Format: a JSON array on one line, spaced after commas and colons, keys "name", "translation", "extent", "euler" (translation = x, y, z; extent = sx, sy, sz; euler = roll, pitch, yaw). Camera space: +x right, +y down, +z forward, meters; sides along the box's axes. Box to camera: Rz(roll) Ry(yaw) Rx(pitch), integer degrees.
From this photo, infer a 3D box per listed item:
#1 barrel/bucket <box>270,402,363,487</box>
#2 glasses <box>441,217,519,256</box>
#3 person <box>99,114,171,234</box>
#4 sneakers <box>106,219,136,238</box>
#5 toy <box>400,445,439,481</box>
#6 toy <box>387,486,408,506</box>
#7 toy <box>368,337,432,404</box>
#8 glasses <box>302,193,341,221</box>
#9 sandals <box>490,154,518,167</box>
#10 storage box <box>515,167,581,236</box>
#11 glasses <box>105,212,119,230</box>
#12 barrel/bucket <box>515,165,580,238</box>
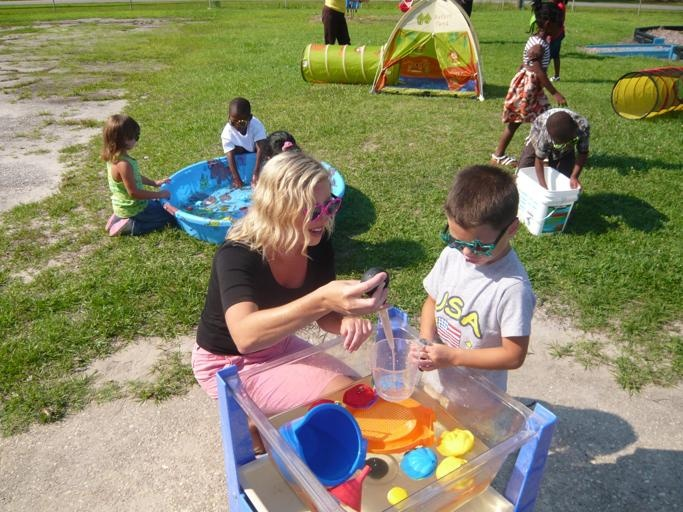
[{"name": "barrel/bucket", "translation": [-0.080, 0.990, 2.878], "extent": [0.434, 0.257, 0.322], "euler": [-13, 34, -19]}, {"name": "glasses", "translation": [0.774, -0.079, 3.213], "extent": [0.384, 0.232, 0.184], "euler": [12, 33, 20]}, {"name": "person", "translation": [-2.113, -0.803, 5.476], "extent": [0.673, 1.031, 0.664], "euler": [-14, 33, -20]}, {"name": "sneakers", "translation": [-2.211, -0.298, 5.469], "extent": [0.264, 0.144, 0.194], "euler": [-13, 34, -18]}, {"name": "toy", "translation": [0.413, 1.111, 2.946], "extent": [0.196, 0.084, 0.151], "euler": [1, 32, 3]}, {"name": "toy", "translation": [0.291, 1.239, 2.848], "extent": [0.108, 0.048, 0.087], "euler": [-2, 32, -2]}, {"name": "toy", "translation": [0.333, 0.678, 3.274], "extent": [0.332, 0.291, 0.272], "euler": [-30, 44, -25]}, {"name": "glasses", "translation": [-0.099, -0.285, 3.294], "extent": [0.162, 0.058, 0.163], "euler": [18, 37, 37]}, {"name": "sandals", "translation": [2.059, -1.186, 6.994], "extent": [0.298, 0.140, 0.167], "euler": [6, 38, 14]}, {"name": "storage box", "translation": [2.027, -0.510, 5.390], "extent": [0.433, 0.466, 0.647], "euler": [-6, 35, -8]}, {"name": "glasses", "translation": [-2.315, -0.332, 5.570], "extent": [0.111, 0.045, 0.185], "euler": [31, 86, 15]}, {"name": "barrel/bucket", "translation": [2.028, -0.509, 5.396], "extent": [0.444, 0.488, 0.673], "euler": [-6, 35, -9]}]
